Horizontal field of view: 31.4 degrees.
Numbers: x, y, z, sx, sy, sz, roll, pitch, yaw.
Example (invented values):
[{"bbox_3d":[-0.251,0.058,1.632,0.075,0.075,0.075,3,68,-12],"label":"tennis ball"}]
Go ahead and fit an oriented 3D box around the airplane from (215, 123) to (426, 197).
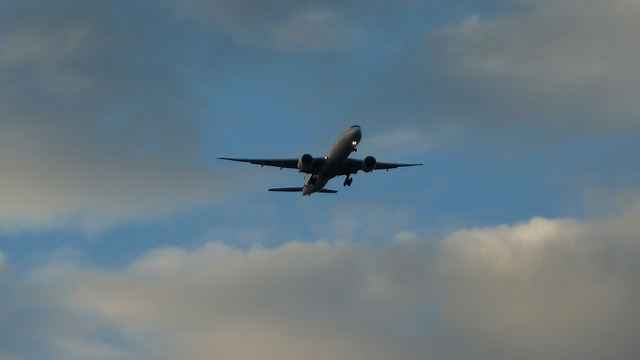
[{"bbox_3d":[-0.590,-3.700,170.434,31.865,23.098,8.321,-1,-82,-5],"label":"airplane"}]
